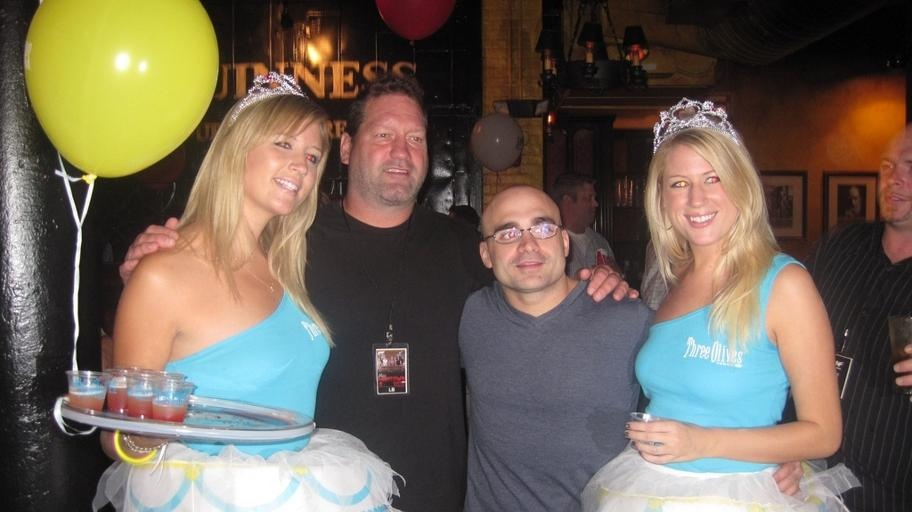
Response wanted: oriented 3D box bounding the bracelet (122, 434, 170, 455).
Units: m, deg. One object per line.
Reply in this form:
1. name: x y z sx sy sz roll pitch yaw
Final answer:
1. bracelet: -1.783 1.089 4.187 0.204 0.070 0.143 5 2 -12

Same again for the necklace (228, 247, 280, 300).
1. necklace: -1.257 0.141 4.518 0.094 0.308 0.328 -21 -13 36

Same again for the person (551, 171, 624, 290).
1. person: 1.332 -0.321 8.179 0.695 1.225 1.386 0 12 28

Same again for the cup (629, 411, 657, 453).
1. cup: 1.109 1.028 4.295 0.183 0.150 0.204 0 0 15
